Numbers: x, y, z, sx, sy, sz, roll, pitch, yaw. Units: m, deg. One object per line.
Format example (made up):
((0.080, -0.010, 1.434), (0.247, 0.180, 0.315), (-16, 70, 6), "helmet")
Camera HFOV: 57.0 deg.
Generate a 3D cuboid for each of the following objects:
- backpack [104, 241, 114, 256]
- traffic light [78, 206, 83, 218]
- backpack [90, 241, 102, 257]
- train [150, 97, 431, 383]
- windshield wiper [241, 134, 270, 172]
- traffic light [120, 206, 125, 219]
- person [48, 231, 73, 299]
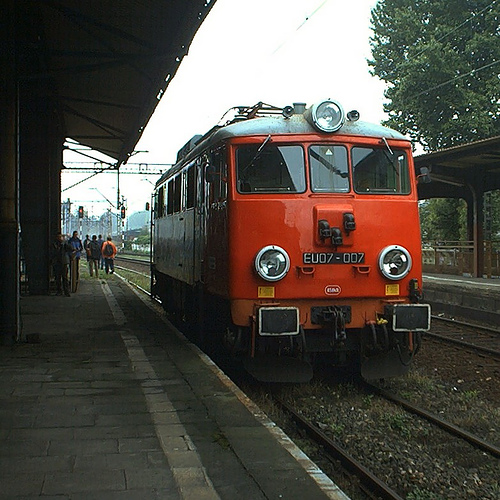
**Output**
((-7.380, -0.041, 23.987), (0.390, 0.672, 0.600), (2, -6, -16), "backpack")
((-12.391, -2.796, 33.489), (0.196, 0.833, 0.689), (3, -1, -25), "traffic light")
((-7.473, -0.059, 22.033), (0.424, 0.732, 0.802), (2, 0, -10), "backpack")
((0.235, -0.126, 7.231), (2.528, 4.379, 4.660), (3, -1, -28), "train")
((0.069, -1.245, 5.886), (0.090, 0.573, 0.043), (38, -3, -8), "windshield wiper")
((-9.781, -2.933, 35.268), (0.276, 0.849, 1.335), (2, 0, -16), "traffic light")
((-5.854, 0.460, 14.149), (0.677, 2.034, 0.716), (3, -1, -23), "person")
